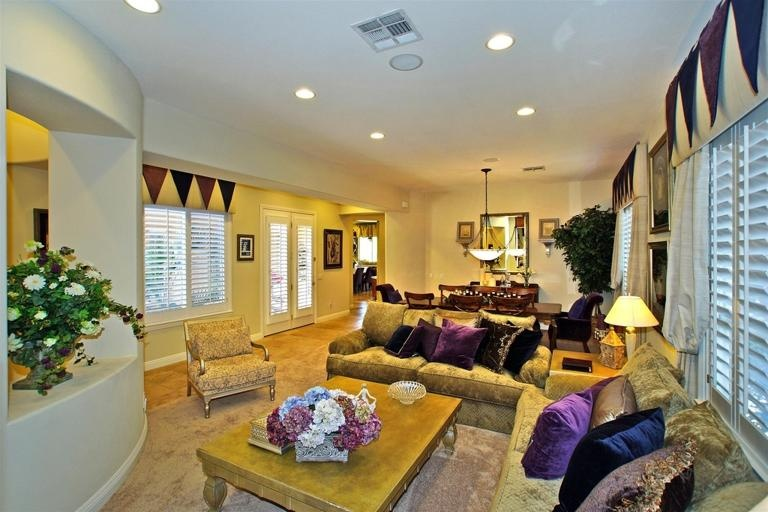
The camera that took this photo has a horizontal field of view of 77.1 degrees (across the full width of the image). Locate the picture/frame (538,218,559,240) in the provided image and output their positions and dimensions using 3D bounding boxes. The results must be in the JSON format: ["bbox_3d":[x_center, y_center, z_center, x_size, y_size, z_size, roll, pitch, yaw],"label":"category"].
[{"bbox_3d":[3.128,-0.512,9.058,0.423,0.519,0.038,2,2,27],"label":"picture/frame"}]

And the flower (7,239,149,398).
[{"bbox_3d":[-2.603,0.431,4.183,1.167,1.104,1.192,6,5,39],"label":"flower"}]

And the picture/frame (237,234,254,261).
[{"bbox_3d":[-2.278,-0.140,7.894,0.083,0.437,0.419,-2,0,20],"label":"picture/frame"}]

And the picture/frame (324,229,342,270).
[{"bbox_3d":[-1.083,-0.136,10.021,0.088,0.893,0.830,-3,-4,25],"label":"picture/frame"}]

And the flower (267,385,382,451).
[{"bbox_3d":[-0.442,1.153,3.642,0.660,0.303,0.500,2,-4,-22],"label":"flower"}]

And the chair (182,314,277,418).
[{"bbox_3d":[-1.761,1.203,5.535,0.908,0.936,1.071,0,-3,-37],"label":"chair"}]

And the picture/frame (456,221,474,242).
[{"bbox_3d":[1.707,-0.508,9.986,0.414,0.486,0.052,1,-1,23],"label":"picture/frame"}]

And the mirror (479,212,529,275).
[{"bbox_3d":[2.397,-0.229,9.364,1.221,1.675,0.088,-2,-3,36],"label":"mirror"}]
